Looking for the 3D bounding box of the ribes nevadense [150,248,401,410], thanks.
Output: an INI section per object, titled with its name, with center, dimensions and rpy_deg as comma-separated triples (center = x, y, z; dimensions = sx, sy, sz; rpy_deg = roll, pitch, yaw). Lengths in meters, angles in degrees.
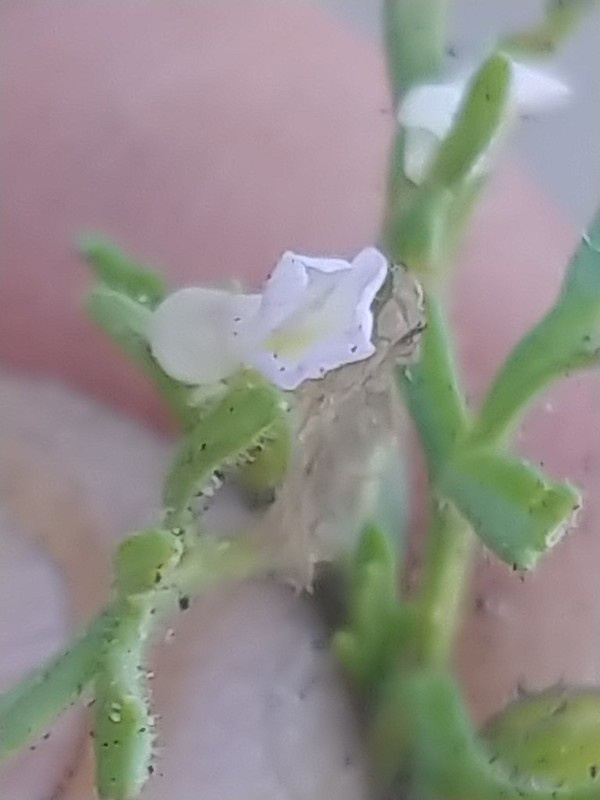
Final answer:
[ribes nevadense]
center = -0.023, -0.060, 0.830
dimensions = 0.191, 0.044, 0.100
rpy_deg = -5, 65, -8
